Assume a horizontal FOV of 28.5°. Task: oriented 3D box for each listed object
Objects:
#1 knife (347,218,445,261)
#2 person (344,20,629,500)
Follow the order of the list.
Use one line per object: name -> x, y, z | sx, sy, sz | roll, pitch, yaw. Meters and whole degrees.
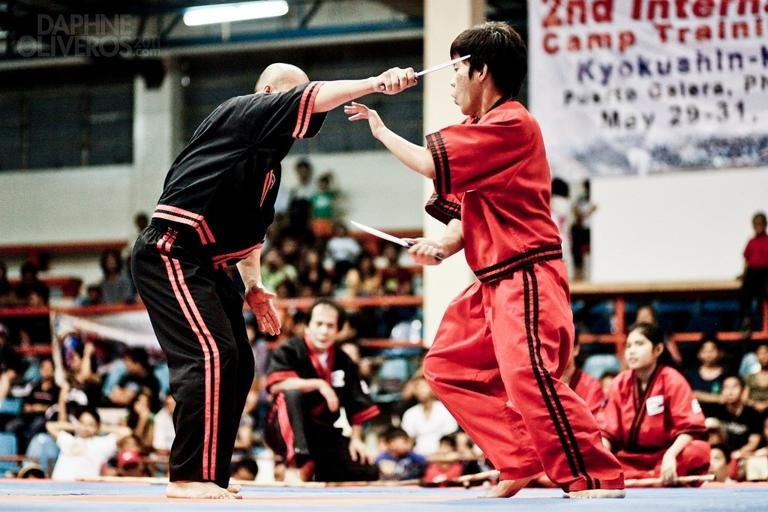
knife -> 0.119, -0.177, 17.482 | 1.635, 0.081, 0.226 | 15, 21, 12
person -> 0.933, 0.014, 11.847 | 1.626, 3.761, 0.527 | 1, -1, 6
